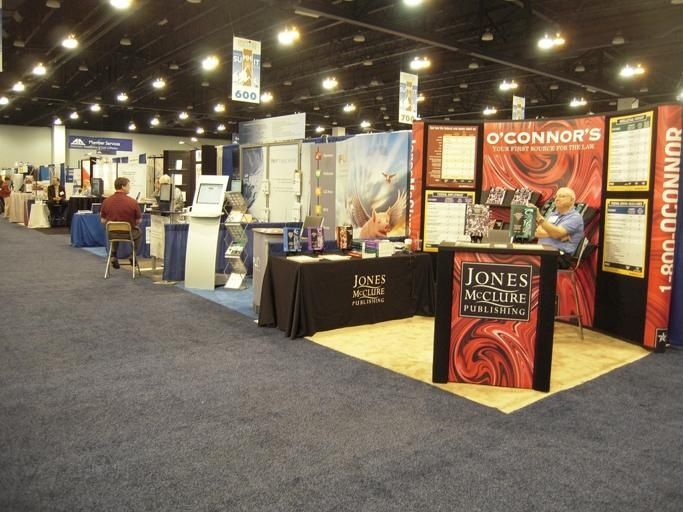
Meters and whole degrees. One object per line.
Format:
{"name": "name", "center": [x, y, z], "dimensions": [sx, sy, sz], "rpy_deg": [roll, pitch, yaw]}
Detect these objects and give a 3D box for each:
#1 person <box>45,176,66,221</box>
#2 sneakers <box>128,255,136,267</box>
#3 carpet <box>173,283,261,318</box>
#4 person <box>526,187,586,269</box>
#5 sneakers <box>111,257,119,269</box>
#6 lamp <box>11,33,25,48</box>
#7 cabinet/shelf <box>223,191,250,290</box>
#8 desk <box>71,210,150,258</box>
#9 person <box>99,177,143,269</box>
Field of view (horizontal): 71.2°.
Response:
{"name": "person", "center": [-8.948, -1.585, 14.966], "dimensions": [0.490, 1.201, 0.546], "rpy_deg": [-4, 11, -28]}
{"name": "sneakers", "center": [-3.500, 0.084, 7.973], "dimensions": [0.087, 0.107, 0.275], "rpy_deg": [-1, -31, -22]}
{"name": "carpet", "center": [-1.415, 0.534, 6.339], "dimensions": [0.786, 0.070, 1.812], "rpy_deg": [-7, 13, -37]}
{"name": "person", "center": [2.378, -0.322, 5.165], "dimensions": [0.479, 0.832, 0.612], "rpy_deg": [6, 11, 25]}
{"name": "sneakers", "center": [-3.699, 0.112, 7.803], "dimensions": [0.129, 0.133, 0.295], "rpy_deg": [-2, -7, -26]}
{"name": "lamp", "center": [-8.506, -5.702, 12.532], "dimensions": [0.209, 0.344, 0.125], "rpy_deg": [-11, 8, -9]}
{"name": "cabinet/shelf", "center": [-1.556, -0.250, 7.004], "dimensions": [0.343, 1.404, 0.812], "rpy_deg": [-1, 10, -11]}
{"name": "desk", "center": [-5.185, -0.528, 10.687], "dimensions": [1.605, 0.756, 1.580], "rpy_deg": [1, 3, -23]}
{"name": "person", "center": [-3.423, -0.652, 7.411], "dimensions": [0.565, 1.108, 0.774], "rpy_deg": [-4, 11, -26]}
